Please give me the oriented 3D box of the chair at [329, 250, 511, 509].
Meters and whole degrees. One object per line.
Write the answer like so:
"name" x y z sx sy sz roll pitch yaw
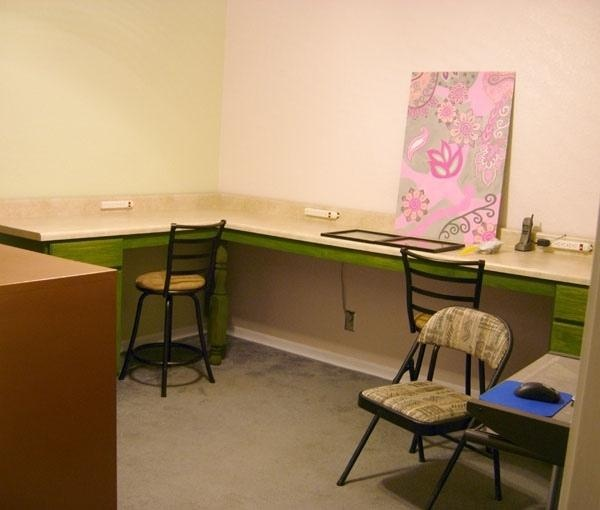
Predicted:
"chair" 0.812 0.530 2.709 0.726 1.084 1.787 7 10 24

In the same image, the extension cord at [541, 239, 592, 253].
"extension cord" 1.622 -0.062 2.924 0.230 0.080 0.039 9 11 30

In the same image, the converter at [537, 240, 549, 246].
"converter" 1.498 -0.076 2.974 0.050 0.038 0.039 7 12 43

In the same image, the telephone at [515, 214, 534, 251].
"telephone" 1.419 -0.142 3.035 0.096 0.228 0.146 9 11 32
